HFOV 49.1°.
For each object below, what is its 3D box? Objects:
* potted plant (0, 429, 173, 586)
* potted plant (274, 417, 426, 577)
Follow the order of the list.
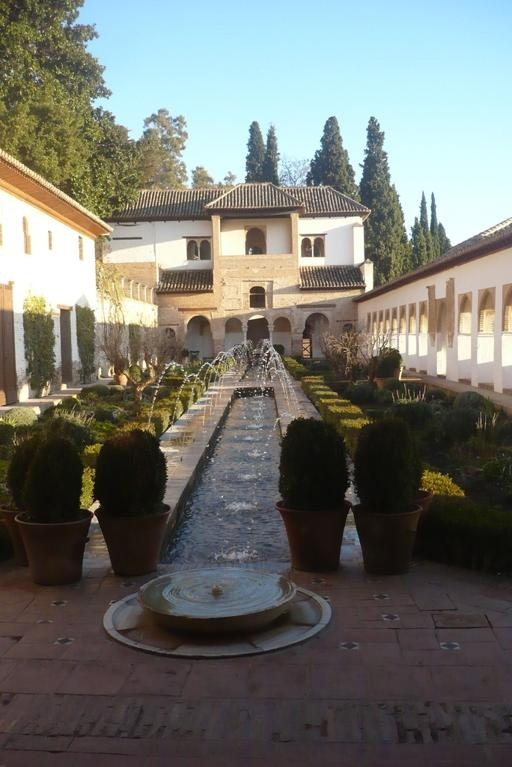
[{"bbox_3d":[-1.147,0.838,3.877,1.074,1.027,0.490,-1,-1,-7],"label":"potted plant"},{"bbox_3d":[0.624,0.792,3.893,1.002,1.091,0.350,-1,-1,18],"label":"potted plant"}]
